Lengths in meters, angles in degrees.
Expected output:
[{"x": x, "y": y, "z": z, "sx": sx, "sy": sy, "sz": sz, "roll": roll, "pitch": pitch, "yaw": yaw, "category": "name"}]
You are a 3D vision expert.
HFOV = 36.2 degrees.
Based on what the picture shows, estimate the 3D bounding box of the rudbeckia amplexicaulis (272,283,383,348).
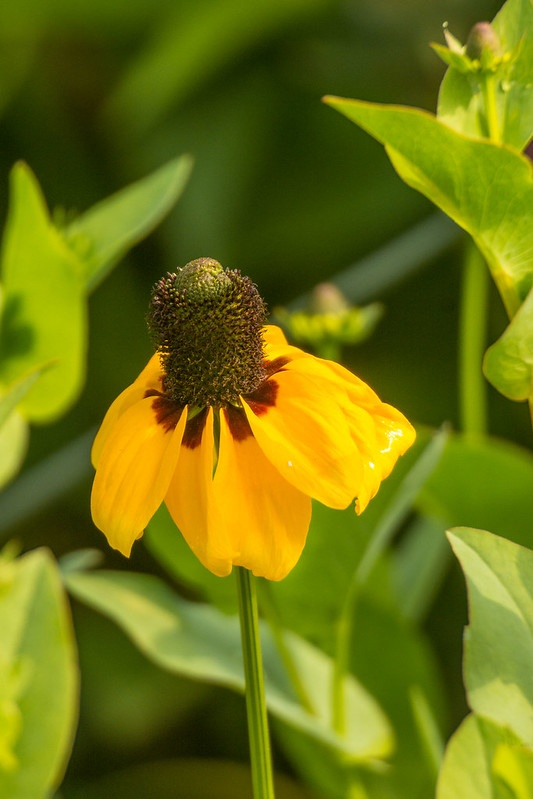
[{"x": 0.043, "y": -0.061, "z": 0.641, "sx": 0.075, "sy": 0.044, "sz": 0.073, "roll": -4, "pitch": -1, "yaw": -36, "category": "rudbeckia amplexicaulis"}]

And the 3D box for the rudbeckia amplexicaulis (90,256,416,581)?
[{"x": -0.020, "y": -0.011, "z": 0.325, "sx": 0.140, "sy": 0.086, "sz": 0.138, "roll": 2, "pitch": 28, "yaw": -7, "category": "rudbeckia amplexicaulis"}]
